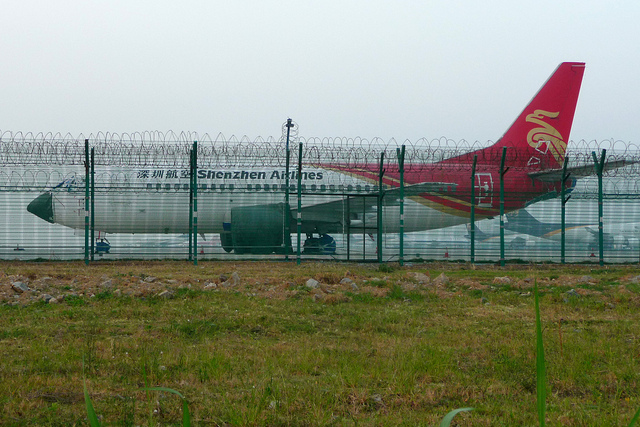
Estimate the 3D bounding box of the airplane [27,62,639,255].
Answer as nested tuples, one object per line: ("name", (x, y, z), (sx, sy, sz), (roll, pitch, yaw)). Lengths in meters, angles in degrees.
("airplane", (0.764, -2.682, 41.187), (23.334, 8.944, 3.912), (1, -1, -5))
